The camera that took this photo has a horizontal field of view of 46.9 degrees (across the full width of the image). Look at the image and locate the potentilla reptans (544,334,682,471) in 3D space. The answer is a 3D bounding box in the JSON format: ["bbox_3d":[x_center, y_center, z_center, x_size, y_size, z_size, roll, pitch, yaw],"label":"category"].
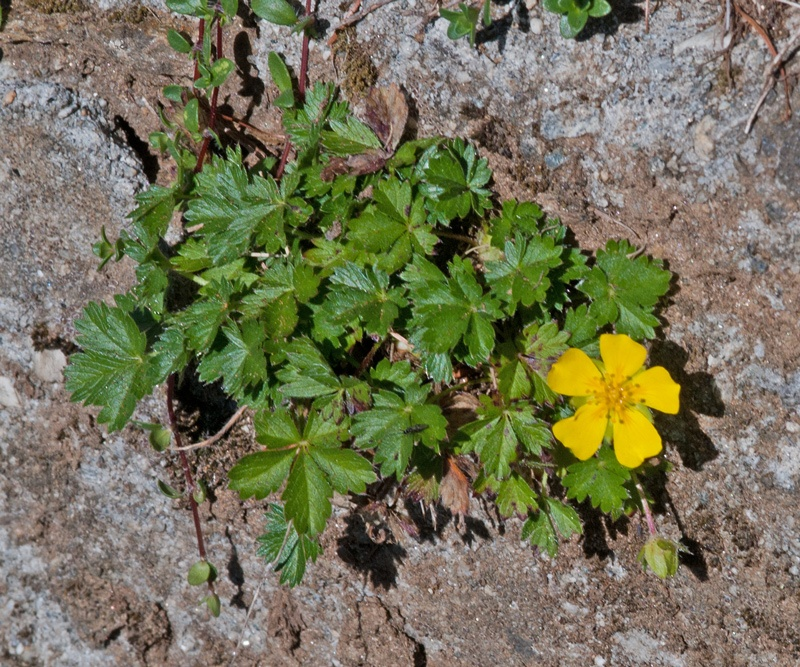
[{"bbox_3d":[0.779,0.253,3.475,0.500,0.141,0.461,36,89,5],"label":"potentilla reptans"}]
